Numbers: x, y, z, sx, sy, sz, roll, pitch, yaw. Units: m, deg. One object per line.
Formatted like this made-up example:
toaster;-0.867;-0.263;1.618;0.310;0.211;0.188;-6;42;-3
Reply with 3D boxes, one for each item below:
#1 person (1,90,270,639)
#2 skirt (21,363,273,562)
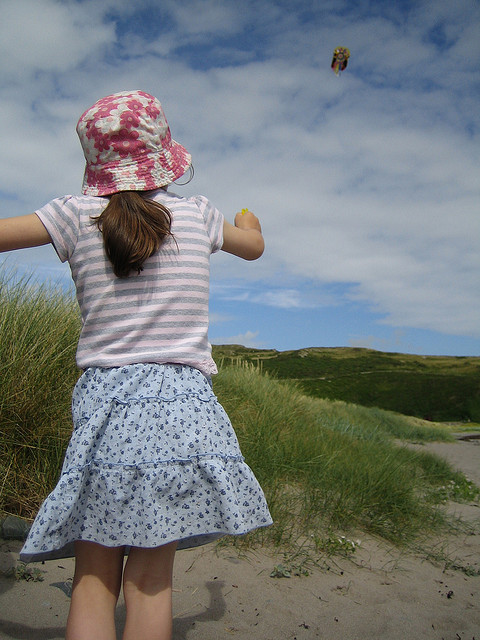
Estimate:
person;-0.284;0.058;1.612;0.749;1.302;0.589;11;3;35
skirt;-0.240;0.386;1.660;0.667;0.497;0.427;-8;-2;3
